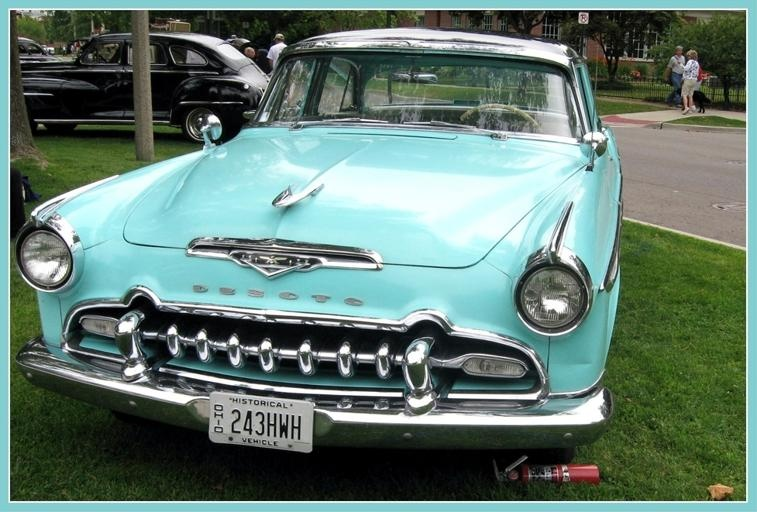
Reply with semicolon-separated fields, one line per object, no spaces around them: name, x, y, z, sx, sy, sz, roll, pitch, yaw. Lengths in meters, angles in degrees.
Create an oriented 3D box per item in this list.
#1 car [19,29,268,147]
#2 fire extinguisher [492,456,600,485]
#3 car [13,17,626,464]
car;-4.351;-3.468;13.293;6.256;2.320;2.756;3;15;2
fire extinguisher;0.963;1.227;3.774;0.672;0.228;0.132;1;1;-3
car;-0.168;-0.168;4.255;3.368;2.620;2.214;3;13;7
